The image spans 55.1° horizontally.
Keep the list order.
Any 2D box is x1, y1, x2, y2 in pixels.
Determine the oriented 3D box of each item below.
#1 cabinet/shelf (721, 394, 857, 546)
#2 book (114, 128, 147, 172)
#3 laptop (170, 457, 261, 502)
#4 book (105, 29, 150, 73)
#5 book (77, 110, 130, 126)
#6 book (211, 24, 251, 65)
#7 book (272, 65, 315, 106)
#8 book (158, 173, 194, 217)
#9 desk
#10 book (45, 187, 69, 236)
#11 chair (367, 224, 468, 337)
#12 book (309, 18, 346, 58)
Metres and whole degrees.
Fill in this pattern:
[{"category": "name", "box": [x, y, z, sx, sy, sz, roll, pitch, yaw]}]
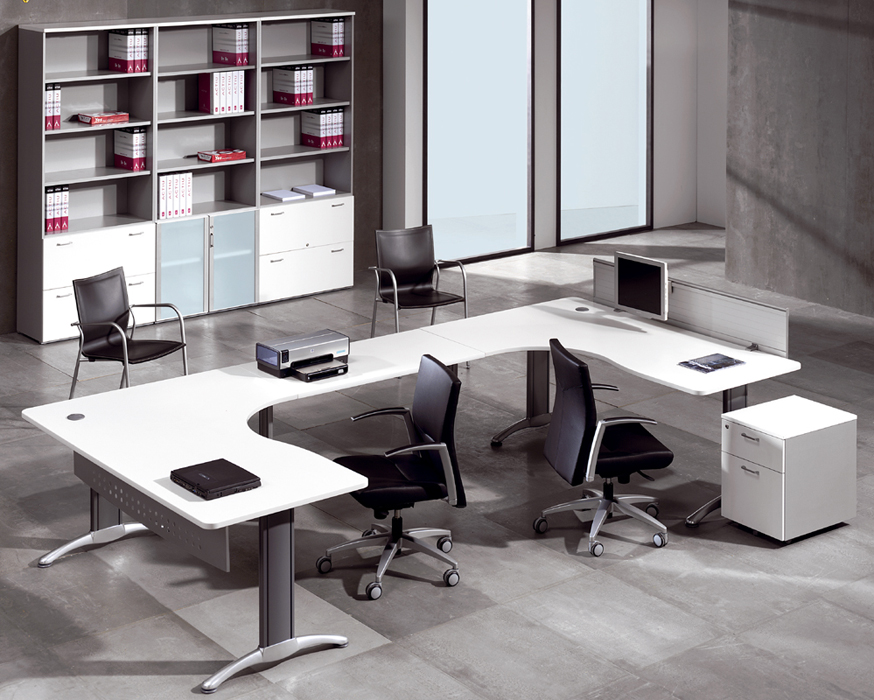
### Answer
[{"category": "cabinet/shelf", "box": [1.820, 0.640, 4.342, 0.595, 0.490, 0.467, -7, 8, -34]}, {"category": "book", "box": [-2.565, -1.692, 7.042, 0.296, 0.307, 0.382, -6, 13, -38]}, {"category": "laptop", "box": [-0.817, 0.476, 3.078, 0.227, 0.049, 0.317, -14, 17, -39]}, {"category": "book", "box": [-2.586, -2.448, 6.881, 0.393, 0.357, 0.233, 2, 17, 21]}, {"category": "book", "box": [-2.710, -1.898, 6.863, 0.256, 0.047, 0.236, 8, 12, 41]}, {"category": "book", "box": [-1.787, -2.694, 7.333, 0.261, 0.284, 0.350, -10, 20, -40]}, {"category": "book", "box": [-1.328, -2.474, 7.787, 0.310, 0.336, 0.417, -5, 13, -42]}, {"category": "book", "box": [-2.258, -1.327, 7.221, 0.317, 0.380, 0.066, -16, 20, -35]}, {"category": "desk", "box": [-0.178, 0.366, 4.892, 4.045, 0.935, 3.003, -12, 16, -34]}, {"category": "book", "box": [-3.065, -1.125, 6.739, 0.233, 0.381, 0.041, -18, 21, -40]}, {"category": "chair", "box": [-0.160, -0.482, 6.715, 0.728, 0.844, 0.590, -15, 28, -38]}, {"category": "book", "box": [-1.012, -2.960, 7.898, 0.292, 0.309, 0.376, -7, 18, -34]}]
